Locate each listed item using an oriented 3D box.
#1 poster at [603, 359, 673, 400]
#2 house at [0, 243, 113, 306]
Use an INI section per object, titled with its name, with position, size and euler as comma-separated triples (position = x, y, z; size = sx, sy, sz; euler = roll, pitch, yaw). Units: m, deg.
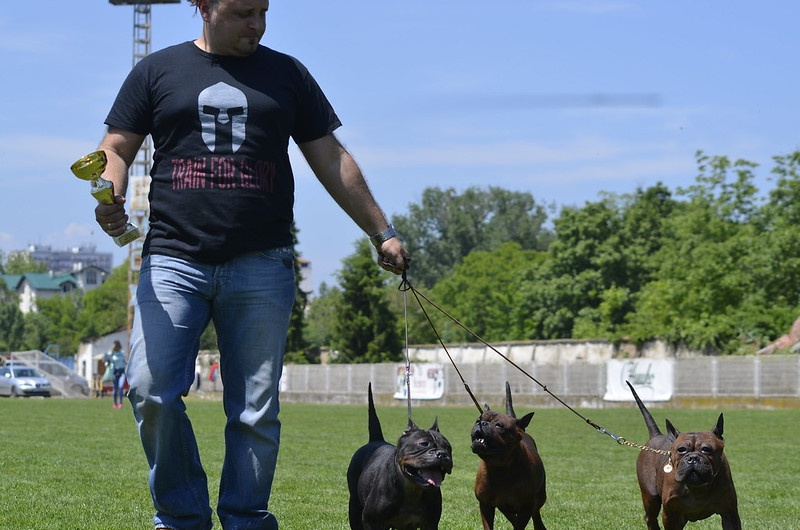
[poster]
position = 8.844, 4.159, 70.680
size = 2.743, 1.634, 1.064
euler = 1, 16, -8
[house]
position = -22.131, 0.449, 125.122
size = 6.567, 2.327, 5.028
euler = -2, 1, -19
